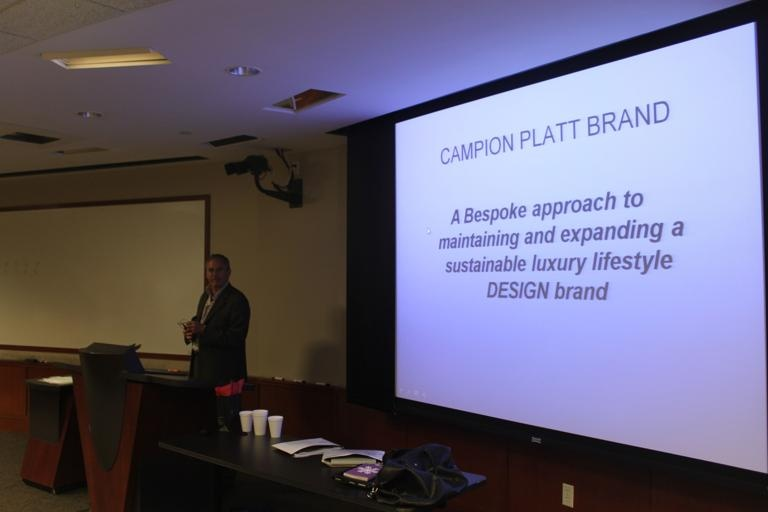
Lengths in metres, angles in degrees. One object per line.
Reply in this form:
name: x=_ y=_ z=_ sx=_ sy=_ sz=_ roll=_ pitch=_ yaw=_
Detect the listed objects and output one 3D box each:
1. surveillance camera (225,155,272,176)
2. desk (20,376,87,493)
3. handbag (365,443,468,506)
surveillance camera: x=-1.414 y=-0.934 z=6.007 sx=0.390 sy=0.175 sz=0.236 roll=-3 pitch=1 yaw=-14
desk: x=-2.994 y=1.608 z=5.220 sx=0.590 sy=0.959 sz=0.229 roll=0 pitch=-4 yaw=12
handbag: x=0.151 y=1.216 z=3.195 sx=0.377 sy=0.111 sz=0.373 roll=-9 pitch=-6 yaw=37
